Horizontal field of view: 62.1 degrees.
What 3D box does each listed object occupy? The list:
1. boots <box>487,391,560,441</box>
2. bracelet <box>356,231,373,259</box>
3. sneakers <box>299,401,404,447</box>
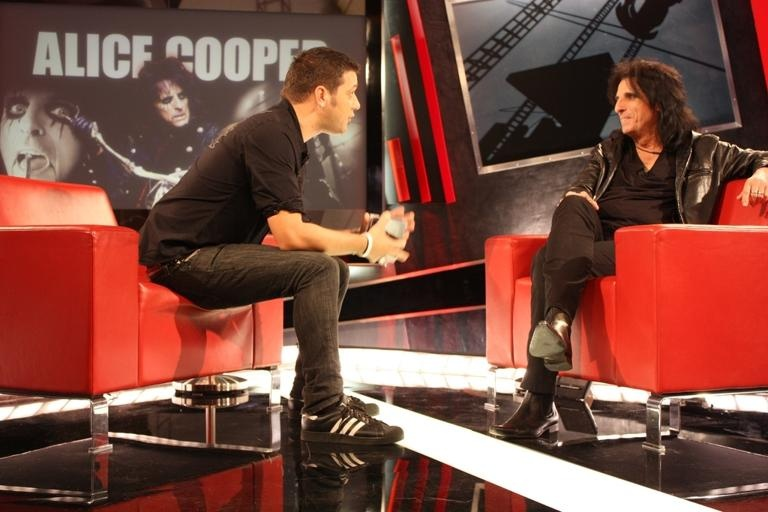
[{"bbox_3d":[0.607,0.661,2.700,0.346,0.220,0.139,-1,-2,-37],"label":"boots"},{"bbox_3d":[-0.083,-0.052,2.602,0.035,0.087,0.081,4,-13,-8],"label":"bracelet"},{"bbox_3d":[-0.144,0.688,2.629,0.503,0.190,0.157,2,-3,-7],"label":"sneakers"}]
